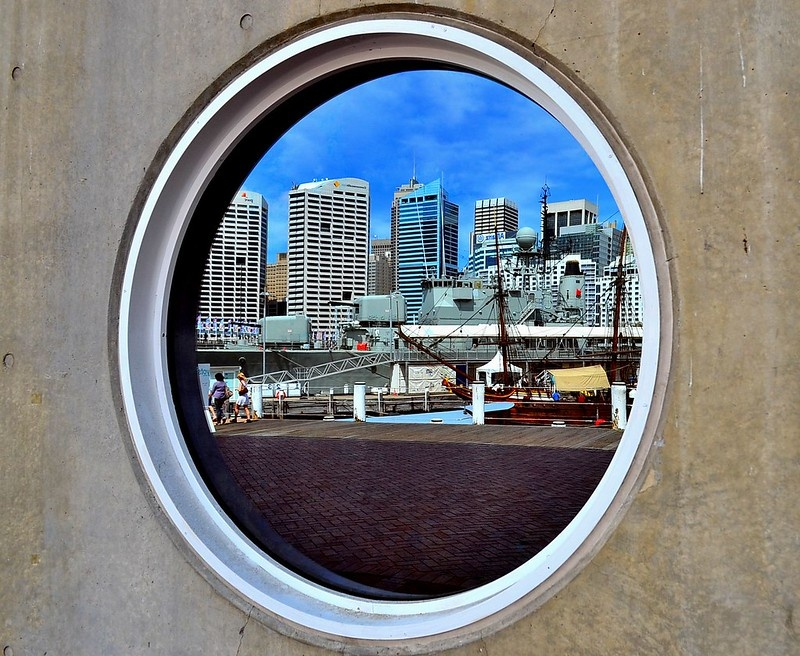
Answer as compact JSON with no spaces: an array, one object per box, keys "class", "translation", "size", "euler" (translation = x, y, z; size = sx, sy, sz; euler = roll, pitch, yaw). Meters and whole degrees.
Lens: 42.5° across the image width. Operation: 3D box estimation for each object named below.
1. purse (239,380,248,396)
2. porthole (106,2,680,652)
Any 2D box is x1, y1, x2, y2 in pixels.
[{"class":"purse","translation":[-2.568,1.018,16.827],"size":[0.135,0.155,0.356],"euler":[-25,-15,-21]},{"class":"porthole","translation":[-0.168,0.019,5.088],"size":[2.755,3.048,0.732],"euler":[-1,6,26]}]
